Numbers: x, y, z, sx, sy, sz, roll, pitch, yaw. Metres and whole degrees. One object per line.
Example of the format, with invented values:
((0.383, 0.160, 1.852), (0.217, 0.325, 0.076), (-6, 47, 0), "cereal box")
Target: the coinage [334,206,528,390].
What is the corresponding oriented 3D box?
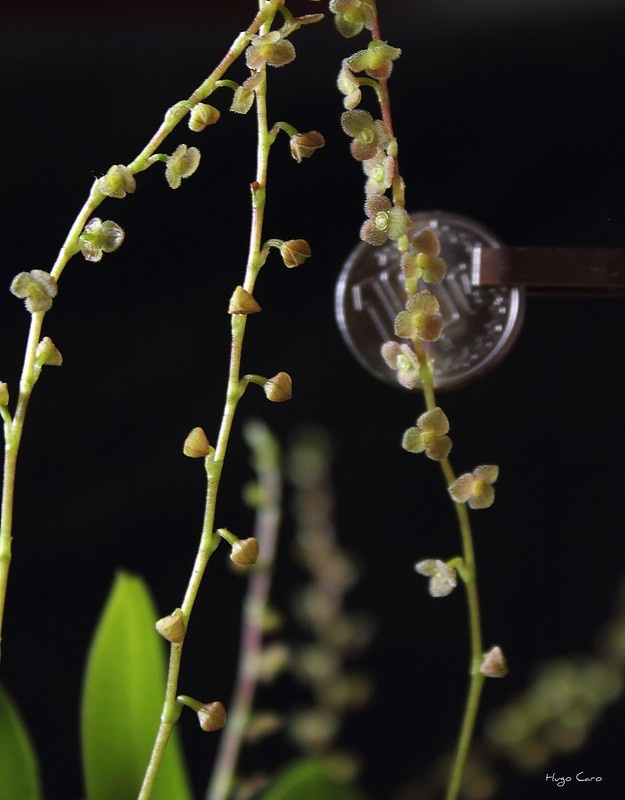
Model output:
((0.088, -0.086, 0.824), (0.184, 0.141, 0.063), (-2, 11, 8), "coinage")
